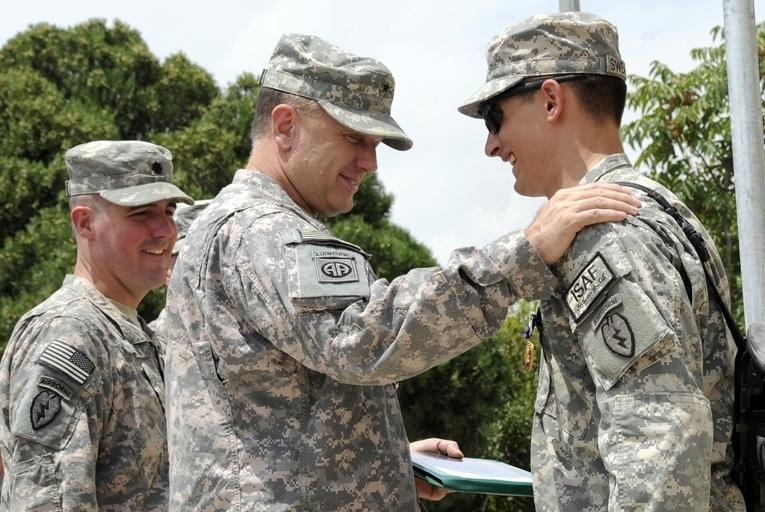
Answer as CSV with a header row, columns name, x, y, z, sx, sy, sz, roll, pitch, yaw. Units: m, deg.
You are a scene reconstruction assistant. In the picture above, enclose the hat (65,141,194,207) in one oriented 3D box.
name,x,y,z,sx,sy,sz,roll,pitch,yaw
hat,-1.938,-0.614,7.948,0.722,0.366,0.555,-2,-1,21
